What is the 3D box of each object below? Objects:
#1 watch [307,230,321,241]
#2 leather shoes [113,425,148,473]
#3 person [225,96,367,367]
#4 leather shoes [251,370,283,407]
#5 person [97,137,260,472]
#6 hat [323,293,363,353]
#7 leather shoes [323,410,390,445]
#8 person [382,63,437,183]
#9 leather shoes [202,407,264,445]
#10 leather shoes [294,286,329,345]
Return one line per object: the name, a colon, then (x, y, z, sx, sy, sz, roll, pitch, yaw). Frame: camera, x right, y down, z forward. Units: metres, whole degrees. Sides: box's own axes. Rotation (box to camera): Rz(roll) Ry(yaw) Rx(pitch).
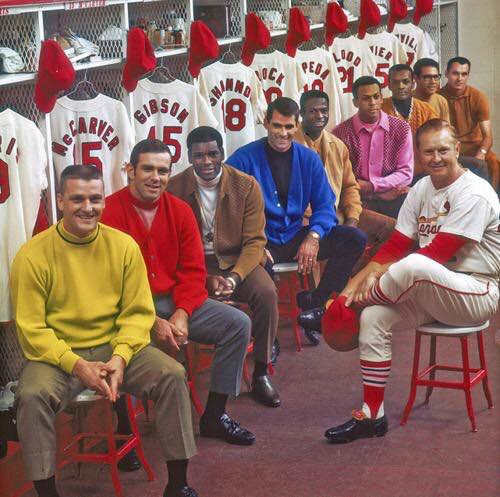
watch: (0.403, -0.086, 4.117, 0.022, 0.056, 0.047, -46, 26, -13)
leather shoes: (-0.494, 0.862, 2.877, 0.177, 0.182, 0.086, 4, 25, 13)
person: (0.148, -0.142, 4.233, 0.831, 1.567, 0.834, -9, -6, 9)
leather shoes: (0.080, 0.714, 3.426, 0.080, 0.098, 0.215, -11, 18, -29)
person: (-0.334, 0.233, 2.960, 0.682, 1.355, 0.874, 1, 13, 0)
hat: (0.424, 0.363, 3.099, 0.145, 0.232, 0.228, 7, -6, 20)
leather shoes: (0.485, 0.802, 3.043, 0.288, 0.136, 0.110, -4, 8, -9)
person: (1.289, -1.099, 5.648, 0.623, 0.935, 0.490, -6, 0, 17)
leather shoes: (-0.090, 0.813, 3.065, 0.285, 0.130, 0.109, 7, 17, 21)
leather shoes: (0.390, 0.417, 4.265, 0.152, 0.388, 0.129, -13, 15, 17)
